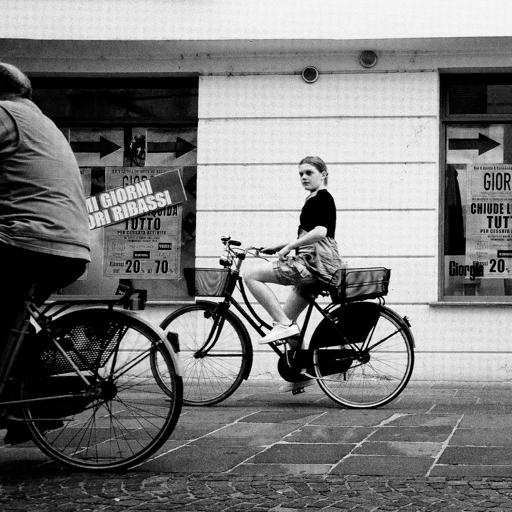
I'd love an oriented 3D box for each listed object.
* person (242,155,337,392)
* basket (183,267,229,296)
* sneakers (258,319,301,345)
[{"bbox_3d":[0.283,0.127,8.054,0.719,1.716,0.428,-1,0,-25],"label":"person"},{"bbox_3d":[-0.441,0.210,8.379,0.427,0.269,0.299,0,-4,7],"label":"basket"},{"bbox_3d":[0.192,0.572,7.939,0.341,0.167,0.133,-12,-6,9],"label":"sneakers"}]
